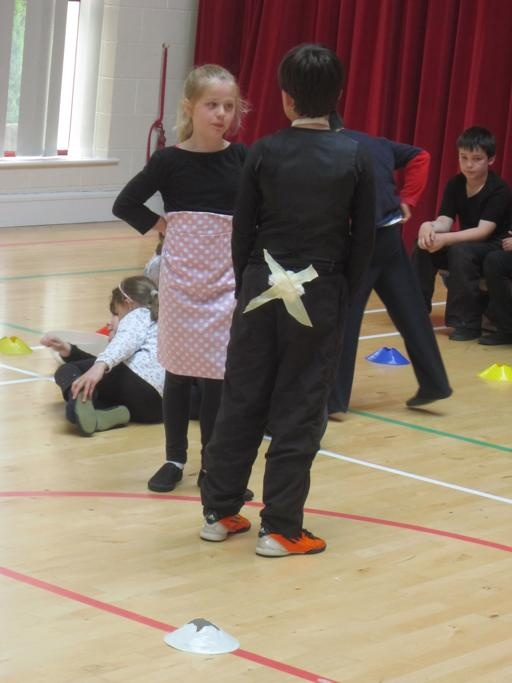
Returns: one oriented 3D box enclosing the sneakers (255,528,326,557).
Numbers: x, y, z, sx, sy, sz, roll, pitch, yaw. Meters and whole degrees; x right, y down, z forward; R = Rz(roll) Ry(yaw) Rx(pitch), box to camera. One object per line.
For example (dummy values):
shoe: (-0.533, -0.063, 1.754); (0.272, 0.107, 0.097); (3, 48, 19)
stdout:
sneakers: (0.079, 0.487, 1.530); (0.182, 0.064, 0.062); (0, 3, -24)

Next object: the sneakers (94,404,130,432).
sneakers: (-0.567, 0.307, 2.435); (0.074, 0.050, 0.177); (4, 3, 42)

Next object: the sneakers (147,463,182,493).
sneakers: (-0.276, 0.412, 1.890); (0.061, 0.048, 0.125); (7, 6, 16)

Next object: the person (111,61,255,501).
person: (-0.170, -0.157, 1.775); (0.518, 1.209, 0.311); (2, 3, -7)

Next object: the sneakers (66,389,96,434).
sneakers: (-0.665, 0.273, 2.348); (0.092, 0.173, 0.079); (-17, -11, -24)

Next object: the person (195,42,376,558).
person: (0.068, -0.054, 1.414); (0.320, 1.186, 0.219); (9, 15, 14)

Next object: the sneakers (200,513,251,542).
sneakers: (-0.081, 0.471, 1.615); (0.053, 0.050, 0.135); (8, 9, 44)
